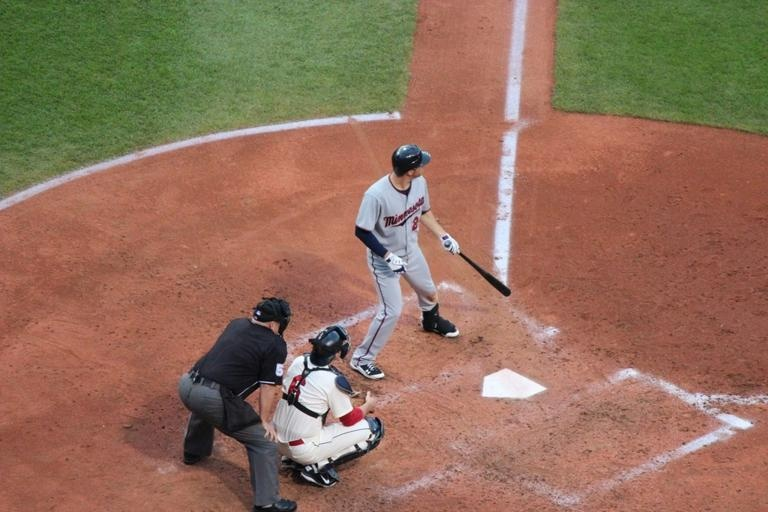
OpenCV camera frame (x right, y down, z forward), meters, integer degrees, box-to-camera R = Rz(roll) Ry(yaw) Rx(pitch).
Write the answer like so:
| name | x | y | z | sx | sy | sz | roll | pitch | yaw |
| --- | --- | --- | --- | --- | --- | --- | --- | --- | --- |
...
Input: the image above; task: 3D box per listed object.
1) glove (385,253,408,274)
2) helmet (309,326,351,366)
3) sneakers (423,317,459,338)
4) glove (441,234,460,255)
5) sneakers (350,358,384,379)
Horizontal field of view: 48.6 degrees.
| name | x | y | z | sx | sy | sz | roll | pitch | yaw |
| --- | --- | --- | --- | --- | --- | --- | --- | --- | --- |
| glove | 0.156 | 0.093 | 12.107 | 0.240 | 0.132 | 0.301 | -37 | 98 | -12 |
| helmet | -0.720 | 1.154 | 10.893 | 0.570 | 0.478 | 0.381 | -21 | 53 | -7 |
| sneakers | 0.914 | 1.074 | 13.233 | 0.585 | 0.225 | 0.262 | 9 | 31 | 15 |
| glove | 0.959 | -0.202 | 12.634 | 0.135 | 0.239 | 0.346 | -50 | 50 | -5 |
| sneakers | -0.240 | 1.652 | 12.511 | 0.570 | 0.192 | 0.208 | 21 | 38 | 13 |
